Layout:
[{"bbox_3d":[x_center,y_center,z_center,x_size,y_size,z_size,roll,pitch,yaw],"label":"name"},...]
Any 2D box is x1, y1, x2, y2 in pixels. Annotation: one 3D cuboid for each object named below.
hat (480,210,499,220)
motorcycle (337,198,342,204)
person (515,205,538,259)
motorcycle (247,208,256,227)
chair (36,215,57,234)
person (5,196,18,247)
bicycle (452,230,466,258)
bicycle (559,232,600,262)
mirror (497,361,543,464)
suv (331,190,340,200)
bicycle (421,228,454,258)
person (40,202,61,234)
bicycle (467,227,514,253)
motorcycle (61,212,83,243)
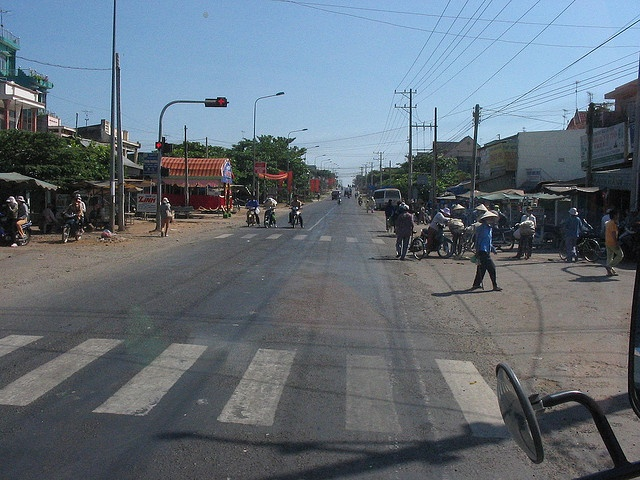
[{"bbox_3d":[4.160,-0.603,13.557,0.429,0.129,0.424,-9,11,-36],"label":"hat"},{"bbox_3d":[3.095,-6.187,88.639,0.815,1.016,1.583,0,1,1],"label":"motorcycle"},{"bbox_3d":[7.532,-0.264,20.491,0.572,1.871,1.143,4,7,19],"label":"person"},{"bbox_3d":[-4.063,-1.336,33.784,0.556,1.057,0.920,1,7,-4],"label":"motorcycle"},{"bbox_3d":[-12.495,-1.038,25.709,0.738,0.934,1.407,-4,12,-22],"label":"chair"},{"bbox_3d":[-11.329,-0.689,20.737,0.343,1.749,0.772,-2,7,-28],"label":"person"},{"bbox_3d":[5.074,0.112,20.524,0.405,1.026,0.722,3,7,15],"label":"bicycle"},{"bbox_3d":[9.656,0.252,20.236,0.845,1.091,1.746,0,5,-12],"label":"bicycle"},{"bbox_3d":[1.231,1.065,3.453,0.201,0.583,0.443,0,7,-13],"label":"mirror"},{"bbox_3d":[2.893,-8.332,103.569,1.457,1.406,2.800,1,14,5],"label":"suv"},{"bbox_3d":[4.207,0.125,20.179,1.319,0.913,0.746,2,5,24],"label":"bicycle"},{"bbox_3d":[-12.324,-0.873,25.624,0.815,1.169,1.485,-2,7,-26],"label":"person"},{"bbox_3d":[5.905,-0.002,19.437,1.816,1.201,0.909,4,0,-1],"label":"bicycle"},{"bbox_3d":[-9.983,-0.507,22.481,0.613,1.102,1.387,1,7,-7],"label":"motorcycle"}]
